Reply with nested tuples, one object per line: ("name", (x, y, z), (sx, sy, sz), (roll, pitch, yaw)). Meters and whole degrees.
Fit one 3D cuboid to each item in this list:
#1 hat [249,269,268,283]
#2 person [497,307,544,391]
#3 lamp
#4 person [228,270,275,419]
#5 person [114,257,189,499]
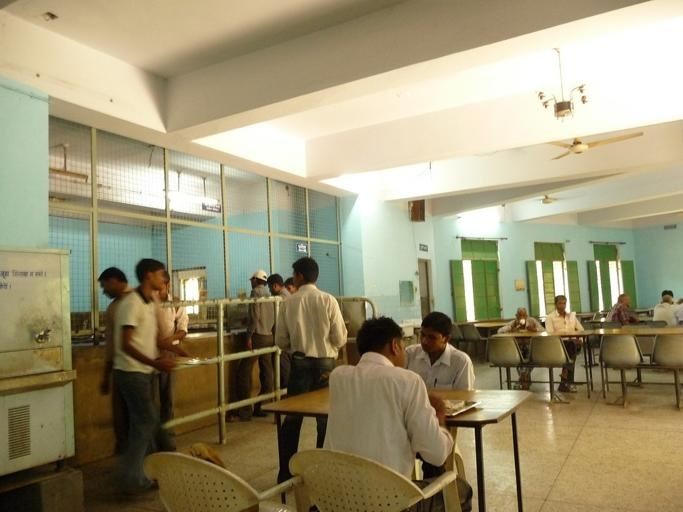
("hat", (-1.199, 0.286, 7.890), (0.212, 0.118, 0.161), (12, 1, -8))
("person", (3.216, 1.547, 9.627), (0.642, 1.173, 0.446), (-5, 9, 22))
("lamp", (2.778, -2.225, 6.873), (0.588, 0.833, 0.546), (-11, 5, -24))
("person", (-1.155, 1.255, 7.233), (0.530, 1.770, 1.006), (-2, 1, -11))
("person", (-1.772, 1.074, 4.824), (0.462, 2.083, 0.825), (-2, 1, -24))
